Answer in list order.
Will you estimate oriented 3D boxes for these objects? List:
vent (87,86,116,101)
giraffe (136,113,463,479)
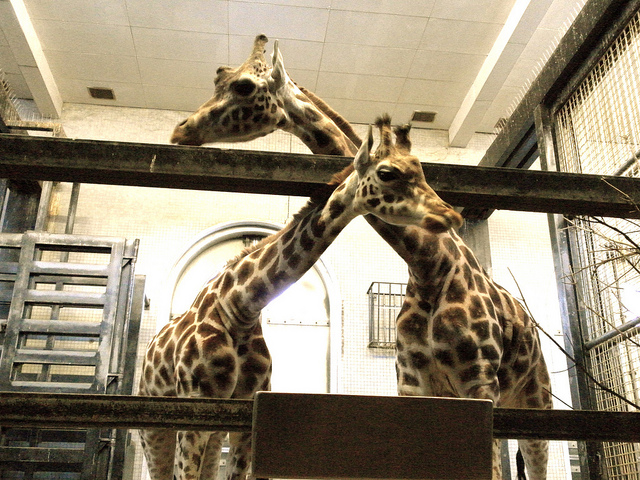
[{"bbox_3d":[-2.729,-1.843,9.248,0.312,0.032,0.277,2,-20,-6],"label":"vent"},{"bbox_3d":[-0.320,0.441,4.346,0.766,1.803,2.658,12,-23,-28],"label":"giraffe"}]
